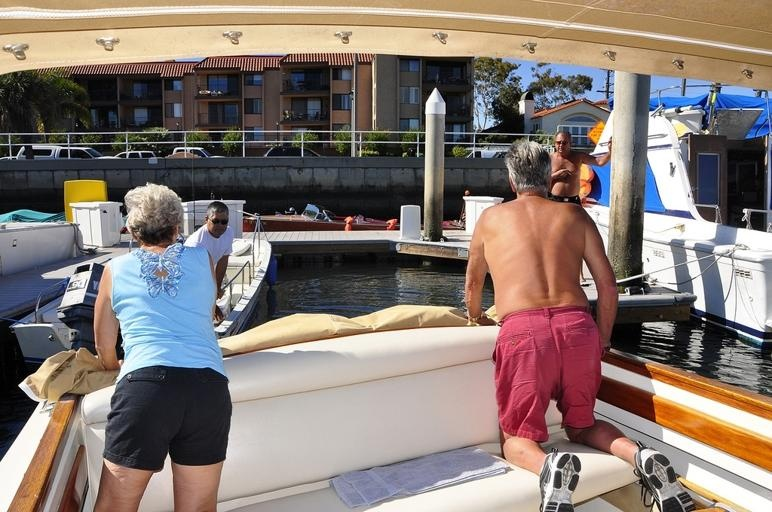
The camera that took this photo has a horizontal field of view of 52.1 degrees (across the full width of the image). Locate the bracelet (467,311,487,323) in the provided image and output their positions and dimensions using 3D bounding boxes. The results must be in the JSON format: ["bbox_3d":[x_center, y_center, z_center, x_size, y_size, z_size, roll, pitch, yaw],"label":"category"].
[{"bbox_3d":[0.700,0.479,6.071,0.084,0.070,0.118,0,5,-1],"label":"bracelet"}]
